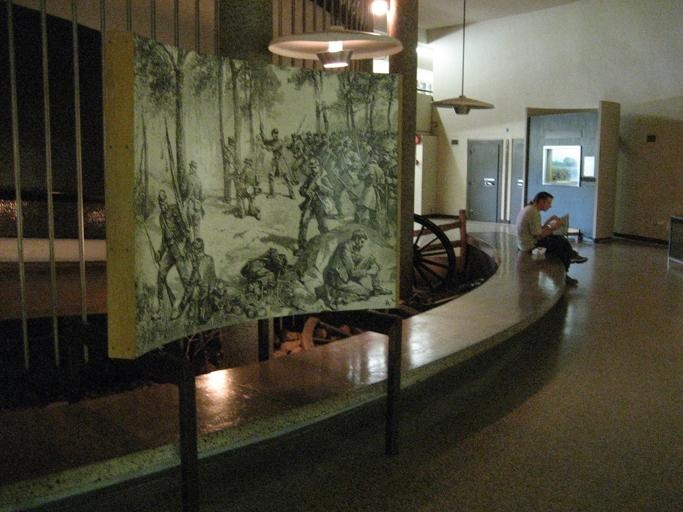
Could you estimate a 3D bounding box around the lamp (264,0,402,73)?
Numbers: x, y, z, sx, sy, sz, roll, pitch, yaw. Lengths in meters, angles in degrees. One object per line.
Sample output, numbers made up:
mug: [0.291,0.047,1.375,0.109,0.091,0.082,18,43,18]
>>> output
lamp: [-0.035,-1.317,3.368,0.704,0.326,0.735,-9,15,-40]

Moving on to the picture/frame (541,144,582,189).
picture/frame: [5.016,-2.044,12.267,0.898,1.087,0.137,8,9,40]

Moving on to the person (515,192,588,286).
person: [3.263,-0.302,8.500,0.904,1.345,0.565,0,15,18]
